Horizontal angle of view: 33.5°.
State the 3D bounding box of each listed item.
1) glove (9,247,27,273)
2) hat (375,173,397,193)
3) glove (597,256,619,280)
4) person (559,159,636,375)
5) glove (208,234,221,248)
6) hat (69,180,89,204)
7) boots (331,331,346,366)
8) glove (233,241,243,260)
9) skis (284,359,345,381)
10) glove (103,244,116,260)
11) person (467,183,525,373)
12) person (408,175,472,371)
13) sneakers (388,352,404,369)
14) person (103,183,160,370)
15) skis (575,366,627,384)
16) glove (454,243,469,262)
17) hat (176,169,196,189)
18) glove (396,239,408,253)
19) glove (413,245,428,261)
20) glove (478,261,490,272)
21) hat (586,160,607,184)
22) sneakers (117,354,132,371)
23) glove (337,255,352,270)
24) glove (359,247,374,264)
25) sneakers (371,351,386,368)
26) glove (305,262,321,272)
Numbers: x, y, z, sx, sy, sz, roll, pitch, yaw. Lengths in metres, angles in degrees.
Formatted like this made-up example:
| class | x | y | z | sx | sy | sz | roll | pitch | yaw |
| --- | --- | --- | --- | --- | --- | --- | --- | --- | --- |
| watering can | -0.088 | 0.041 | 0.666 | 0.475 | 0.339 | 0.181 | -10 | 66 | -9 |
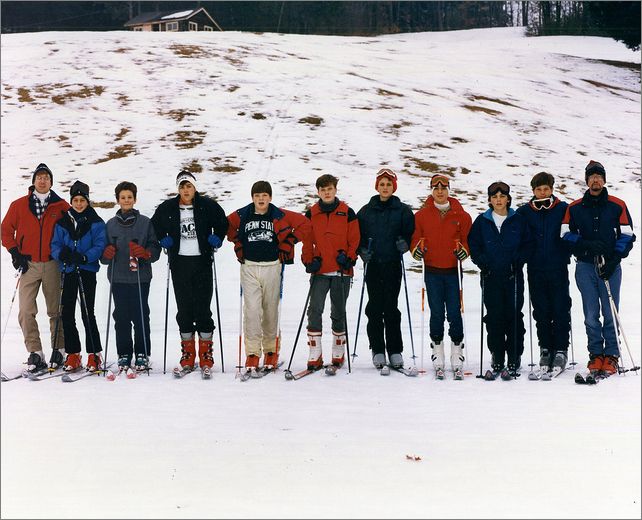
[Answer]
| class | x | y | z | sx | sy | sz | roll | pitch | yaw |
| --- | --- | --- | --- | --- | --- | --- | --- | --- | --- |
| glove | -5.967 | 0.003 | 21.010 | 0.350 | 0.508 | 0.160 | -6 | 7 | 8 |
| hat | 1.314 | -1.589 | 21.192 | 0.378 | 0.441 | 0.589 | 2 | 9 | 8 |
| glove | 5.571 | 0.151 | 20.548 | 0.395 | 0.460 | 0.278 | 3 | 8 | 10 |
| person | 5.384 | 0.145 | 20.629 | 1.274 | 4.048 | 0.810 | 3 | 8 | 15 |
| glove | -2.070 | -0.363 | 20.863 | 0.255 | 0.238 | 0.088 | 27 | 46 | 32 |
| hat | -4.776 | -1.372 | 21.174 | 0.324 | 0.435 | 0.417 | -1 | -1 | -5 |
| boots | 0.349 | 1.754 | 21.256 | 0.260 | 0.689 | 0.691 | 1 | 14 | 2 |
| glove | -1.583 | -0.168 | 21.011 | 0.067 | 0.303 | 0.216 | -14 | -3 | 10 |
| skis | -0.107 | 2.179 | 21.001 | 0.189 | 0.169 | 1.312 | 24 | 21 | 34 |
| glove | -4.140 | -0.140 | 20.814 | 0.230 | 0.264 | 0.124 | -1 | 8 | -13 |
| person | 3.466 | 0.392 | 20.695 | 1.058 | 3.687 | 0.728 | 3 | 8 | 16 |
| person | 2.353 | 0.263 | 20.958 | 1.120 | 3.803 | 0.890 | 3 | 8 | 12 |
| sneakers | 1.486 | 1.997 | 20.996 | 0.222 | 0.247 | 0.271 | 2 | -15 | -13 |
| person | -3.736 | 0.341 | 20.959 | 1.055 | 3.677 | 0.807 | 0 | 8 | -7 |
| skis | 5.390 | 2.212 | 20.433 | 0.619 | 0.111 | 0.145 | -14 | 40 | -14 |
| glove | 2.725 | -0.143 | 20.704 | 0.196 | 0.355 | 0.112 | -21 | -2 | 41 |
| hat | -2.673 | -1.609 | 21.094 | 0.356 | 0.382 | 0.414 | -5 | -32 | -7 |
| glove | 1.597 | -0.268 | 20.855 | 0.250 | 0.280 | 0.226 | 2 | 8 | 3 |
| glove | 1.924 | -0.131 | 20.922 | 0.182 | 0.282 | 0.281 | 6 | 10 | 33 |
| glove | 3.195 | 0.145 | 20.713 | 0.173 | 0.184 | 0.047 | 12 | 24 | 43 |
| hat | 5.386 | -1.752 | 20.865 | 0.350 | 0.417 | 0.459 | 0 | -14 | 12 |
| sneakers | -3.856 | 2.018 | 20.864 | 0.210 | 0.319 | 0.131 | 3 | -14 | -4 |
| glove | 0.463 | 0.032 | 20.843 | 0.333 | 0.337 | 0.157 | 1 | 8 | -2 |
| glove | 0.879 | -0.150 | 20.875 | 0.250 | 0.429 | 0.297 | 1 | 8 | -1 |
| sneakers | 1.142 | 1.991 | 20.999 | 0.219 | 0.253 | 0.271 | 2 | -13 | -5 |
| glove | -0.139 | 0.132 | 20.920 | 0.309 | 0.259 | 0.165 | 1 | 8 | -2 |
